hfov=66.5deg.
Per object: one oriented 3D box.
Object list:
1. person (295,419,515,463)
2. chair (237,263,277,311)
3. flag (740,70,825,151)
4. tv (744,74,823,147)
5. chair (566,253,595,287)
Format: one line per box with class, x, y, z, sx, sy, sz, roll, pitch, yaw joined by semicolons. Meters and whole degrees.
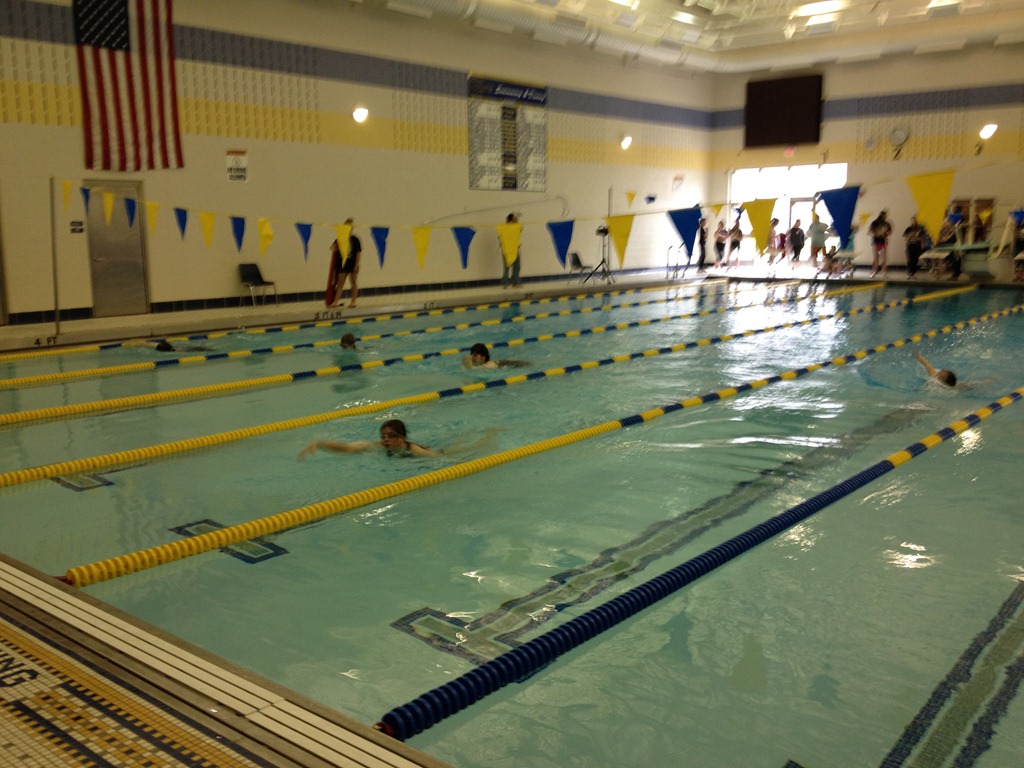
person;-0.735;0.404;5.296;0.900;0.210;0.475;-10;13;-38
chair;-3.660;-1.419;11.001;0.384;0.594;0.563;7;15;26
flag;6.534;-6.534;18.457;0.226;1.653;2.137;-17;22;-38
tv;6.533;-6.525;18.457;0.218;1.600;2.064;-16;20;-39
chair;1.318;-2.356;15.694;0.672;0.742;0.559;-2;24;4
